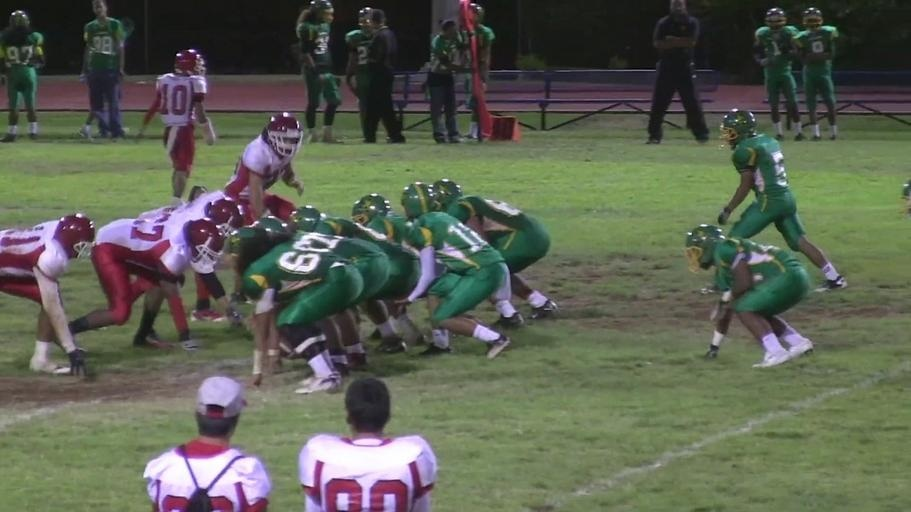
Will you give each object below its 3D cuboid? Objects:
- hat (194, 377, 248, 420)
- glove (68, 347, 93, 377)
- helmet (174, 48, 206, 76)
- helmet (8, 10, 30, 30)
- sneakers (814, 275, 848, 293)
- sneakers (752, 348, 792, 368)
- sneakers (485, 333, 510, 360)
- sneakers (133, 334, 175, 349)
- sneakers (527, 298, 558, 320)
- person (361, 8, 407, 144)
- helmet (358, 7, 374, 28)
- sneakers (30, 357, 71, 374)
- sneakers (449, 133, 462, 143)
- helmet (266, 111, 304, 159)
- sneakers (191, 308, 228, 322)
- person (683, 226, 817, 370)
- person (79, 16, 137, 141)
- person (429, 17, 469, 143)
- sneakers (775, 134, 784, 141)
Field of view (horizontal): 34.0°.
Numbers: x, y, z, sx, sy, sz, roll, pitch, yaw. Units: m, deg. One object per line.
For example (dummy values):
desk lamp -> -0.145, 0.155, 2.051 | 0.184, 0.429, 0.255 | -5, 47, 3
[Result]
hat -> -2.595, 1.467, 16.440 | 0.565, 0.199, 0.631 | 13, 35, -9
glove -> -4.924, 1.400, 19.529 | 0.260, 0.391, 0.283 | -4, 9, -13
helmet -> -4.245, -3.167, 24.215 | 0.639, 0.423, 0.434 | -7, 17, -24
helmet -> -8.580, -4.680, 29.320 | 0.317, 0.352, 0.553 | -3, 8, -10
sneakers -> 5.372, 0.410, 21.288 | 0.619, 0.197, 0.176 | -4, 16, 11
sneakers -> 4.010, 1.368, 19.461 | 0.668, 0.205, 0.190 | -10, 7, 5
sneakers -> 0.539, 1.211, 19.639 | 0.480, 0.196, 0.173 | -38, -7, 3
sneakers -> -4.123, 1.185, 20.179 | 0.667, 0.196, 0.177 | -1, -7, -1
sneakers -> 1.243, 0.760, 20.688 | 0.408, 0.143, 0.282 | -1, 7, 36
person -> -1.452, -3.520, 29.219 | 0.805, 2.626, 0.859 | -3, 9, -3
helmet -> -1.746, -4.663, 29.055 | 0.253, 0.353, 0.294 | -2, 8, 1
sneakers -> -5.299, 1.476, 19.498 | 0.551, 0.186, 0.114 | 0, 9, 13
sneakers -> 0.042, -2.383, 29.744 | 0.293, 0.219, 0.147 | 3, 36, 15
helmet -> -2.415, -1.745, 21.055 | 0.554, 0.461, 0.604 | -2, 18, -37
sneakers -> -3.474, 0.854, 20.893 | 0.535, 0.148, 0.175 | -5, -5, 8
person -> 3.835, 0.537, 19.445 | 1.531, 1.834, 0.469 | -1, 9, 8
person -> -6.997, -3.739, 29.720 | 0.828, 2.739, 0.880 | -3, 9, -6
person -> -0.190, -3.425, 29.297 | 0.710, 2.403, 0.840 | -2, 9, 0
sneakers -> 6.396, -2.364, 29.572 | 0.186, 0.081, 0.159 | 6, 2, 20
